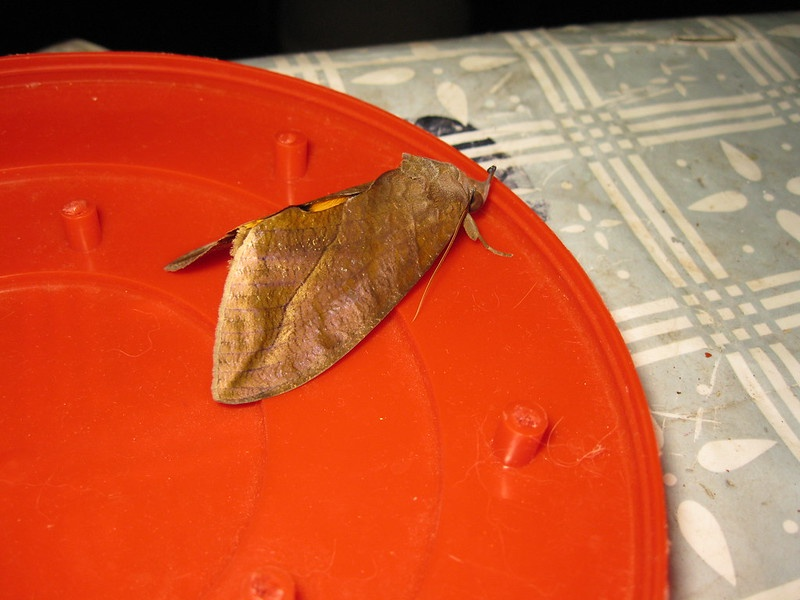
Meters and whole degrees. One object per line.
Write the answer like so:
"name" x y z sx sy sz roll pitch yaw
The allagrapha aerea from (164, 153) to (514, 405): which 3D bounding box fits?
"allagrapha aerea" -0.122 -0.141 1.820 0.731 0.243 0.480 -25 50 -27
